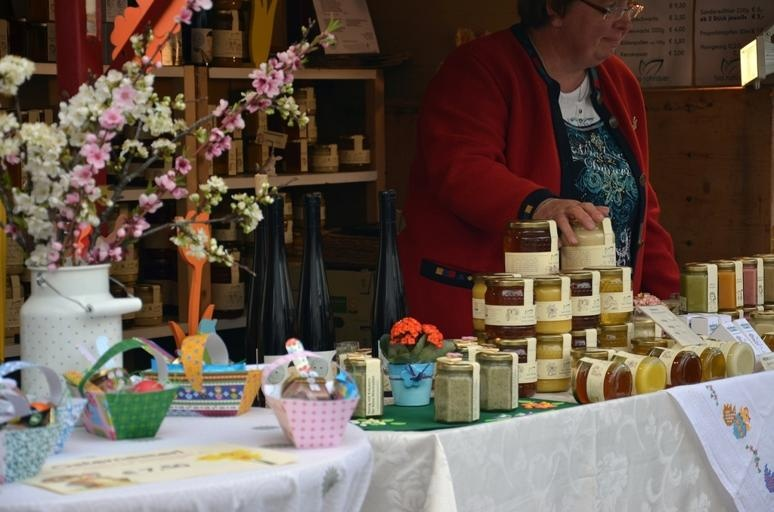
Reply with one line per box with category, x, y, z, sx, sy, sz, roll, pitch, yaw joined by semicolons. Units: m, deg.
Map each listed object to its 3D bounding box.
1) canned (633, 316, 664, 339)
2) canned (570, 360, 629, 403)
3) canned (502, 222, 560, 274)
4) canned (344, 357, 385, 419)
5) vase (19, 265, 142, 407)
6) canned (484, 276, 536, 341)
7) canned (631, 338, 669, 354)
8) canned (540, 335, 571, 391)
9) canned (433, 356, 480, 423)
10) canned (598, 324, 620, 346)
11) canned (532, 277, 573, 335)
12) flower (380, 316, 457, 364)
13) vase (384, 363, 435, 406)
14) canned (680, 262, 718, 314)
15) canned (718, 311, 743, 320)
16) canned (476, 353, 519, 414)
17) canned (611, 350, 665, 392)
canned;0.756;0.196;2.295;0.070;0.069;0.070;0;1;17
canned;0.530;0.285;2.002;0.121;0.113;0.113;-4;12;-3
canned;0.384;-0.015;2.187;0.148;0.157;0.150;-5;4;-19
canned;-0.052;0.300;1.893;0.094;0.152;0.099;-9;20;-34
vase;-0.695;0.128;1.805;0.213;0.248;0.170;0;26;-8
canned;0.316;0.128;2.066;0.141;0.154;0.143;4;6;42
canned;0.722;0.234;2.182;0.055;0.052;0.055;0;0;-20
canned;0.429;0.279;2.083;0.100;0.135;0.139;0;-5;1
canned;0.164;0.310;1.899;0.122;0.171;0.133;0;-1;6
canned;0.612;0.216;2.210;0.057;0.050;0.058;0;-1;12
canned;0.428;0.130;2.135;0.129;0.146;0.129;-2;1;-7
flower;0.058;0.206;1.953;0.140;0.079;0.116;-3;-6;11
vase;0.055;0.305;1.941;0.111;0.083;0.106;0;-2;-1
canned;0.972;0.093;2.499;0.104;0.153;0.145;-3;6;1
canned;1.057;0.171;2.449;0.044;0.042;0.043;1;-2;-38
canned;0.261;0.298;1.941;0.098;0.134;0.111;0;1;-14
canned;0.666;0.289;2.067;0.111;0.112;0.087;14;8;-19
